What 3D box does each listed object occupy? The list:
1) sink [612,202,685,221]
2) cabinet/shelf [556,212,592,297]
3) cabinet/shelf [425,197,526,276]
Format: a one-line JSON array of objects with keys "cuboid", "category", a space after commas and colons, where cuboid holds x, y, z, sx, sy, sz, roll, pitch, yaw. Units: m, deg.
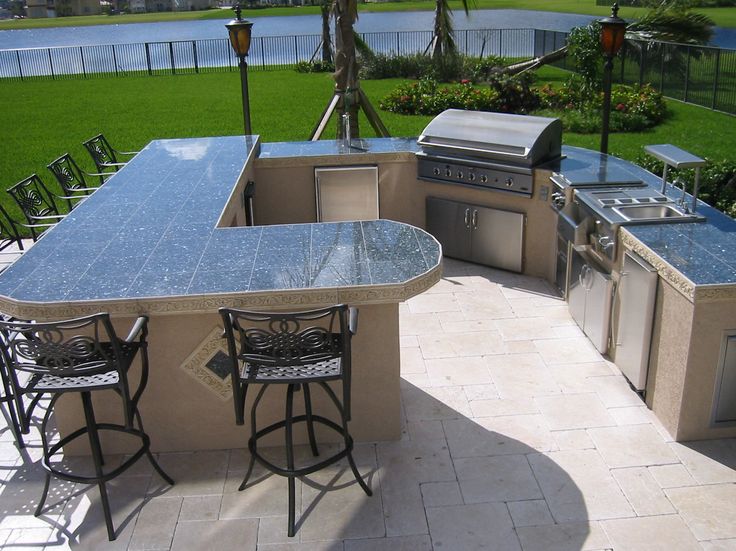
[{"cuboid": [2.276, -0.498, 4.750, 0.301, 0.117, 0.237, -3, 37, 2], "category": "sink"}, {"cuboid": [1.899, -0.178, 5.649, 0.271, 0.761, 0.446, 10, 1, 2], "category": "cabinet/shelf"}, {"cuboid": [1.325, -0.568, 6.776, 1.156, 0.704, 0.606, 15, 33, 31], "category": "cabinet/shelf"}]
